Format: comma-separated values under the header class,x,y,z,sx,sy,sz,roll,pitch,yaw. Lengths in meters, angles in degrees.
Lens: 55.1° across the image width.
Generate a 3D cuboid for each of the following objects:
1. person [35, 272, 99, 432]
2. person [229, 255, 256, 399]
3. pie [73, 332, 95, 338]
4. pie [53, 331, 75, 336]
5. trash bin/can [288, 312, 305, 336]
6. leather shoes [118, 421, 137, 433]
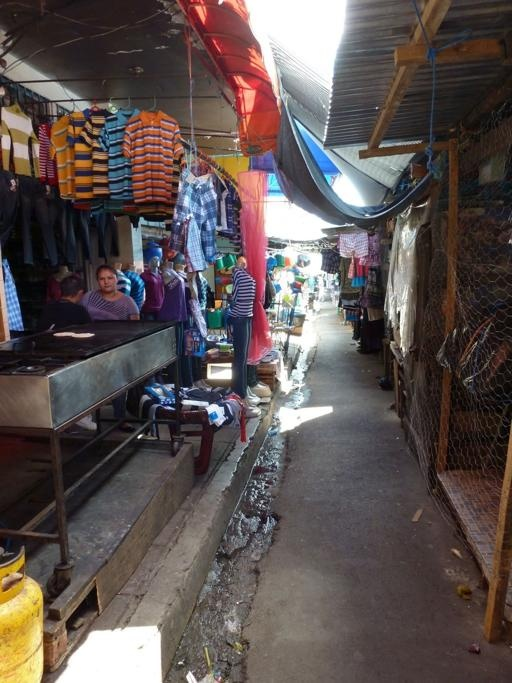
class,x,y,z,sx,sy,sz,roll,pitch,yaw
person,-1.218,0.072,3.527,0.413,1.078,0.406,3,-26,-46
person,-0.137,-0.099,5.626,0.287,1.715,0.436,-3,7,-2
pie,-0.950,-0.029,2.706,0.113,0.019,0.234,-5,6,-21
pie,-1.101,-0.037,2.783,0.097,0.017,0.262,-5,6,-27
trash bin/can,1.314,-0.514,14.973,0.665,0.521,0.632,-11,16,-42
leather shoes,-1.072,0.729,4.074,0.101,0.118,0.293,1,-12,-21
